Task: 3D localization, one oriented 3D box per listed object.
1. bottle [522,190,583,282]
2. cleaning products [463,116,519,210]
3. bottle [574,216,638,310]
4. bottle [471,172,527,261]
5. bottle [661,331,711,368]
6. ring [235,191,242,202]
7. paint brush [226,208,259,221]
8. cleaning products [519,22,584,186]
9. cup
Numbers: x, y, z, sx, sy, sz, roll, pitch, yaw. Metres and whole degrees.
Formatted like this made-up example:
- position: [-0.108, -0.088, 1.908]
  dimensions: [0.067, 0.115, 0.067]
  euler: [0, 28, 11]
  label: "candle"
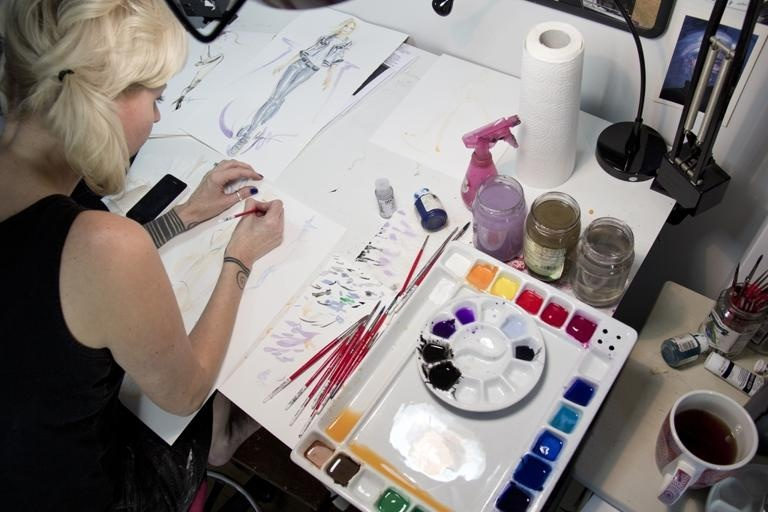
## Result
- position: [0.403, -0.036, 1.269]
  dimensions: [0.109, 0.208, 0.110]
  euler: [-3, 35, 2]
  label: "bottle"
- position: [0.281, -0.234, 1.363]
  dimensions: [0.165, 0.224, 0.097]
  euler: [-23, 47, -2]
  label: "cleaning products"
- position: [0.518, 0.011, 1.240]
  dimensions: [0.113, 0.171, 0.109]
  euler: [-6, 60, 10]
  label: "bottle"
- position: [0.282, -0.083, 1.314]
  dimensions: [0.121, 0.201, 0.109]
  euler: [-15, 36, -14]
  label: "bottle"
- position: [0.730, 0.228, 1.269]
  dimensions: [0.092, 0.063, 0.056]
  euler: [-17, 14, -17]
  label: "bottle"
- position: [-0.424, -0.177, 1.539]
  dimensions: [0.025, 0.028, 0.006]
  euler: [-18, 1, -29]
  label: "ring"
- position: [-0.401, -0.120, 1.504]
  dimensions: [0.119, 0.014, 0.014]
  euler: [-16, 0, 25]
  label: "paint brush"
- position: [0.417, -0.361, 1.329]
  dimensions: [0.145, 0.398, 0.111]
  euler: [9, 36, 20]
  label: "cleaning products"
- position: [0.670, 0.410, 1.098]
  dimensions: [0.110, 0.157, 0.174]
  euler: [36, 78, 24]
  label: "cup"
